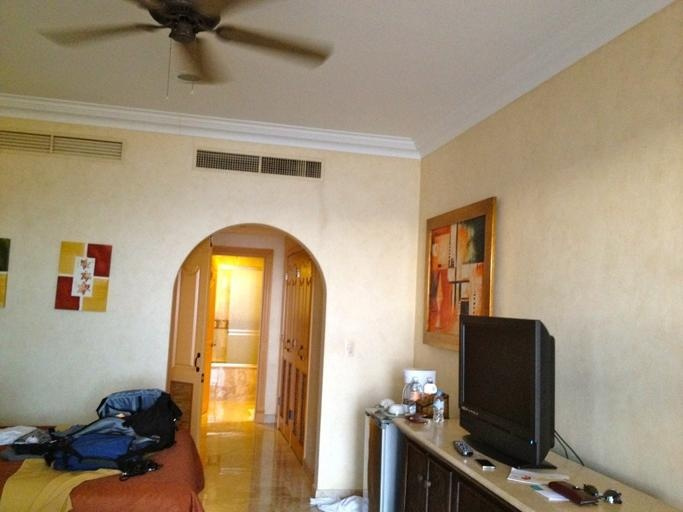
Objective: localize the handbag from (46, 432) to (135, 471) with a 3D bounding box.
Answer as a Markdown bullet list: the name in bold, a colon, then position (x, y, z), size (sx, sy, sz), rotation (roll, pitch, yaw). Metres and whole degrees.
- **handbag**: position (-1.710, 1.360, 3.596), size (0.276, 0.108, 0.286), rotation (0, 1, -7)

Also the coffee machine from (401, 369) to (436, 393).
- **coffee machine**: position (0.600, 0.939, 3.975), size (0.175, 0.199, 0.168), rotation (1, -2, 1)

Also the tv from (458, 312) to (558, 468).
- **tv**: position (0.985, 0.802, 3.053), size (0.375, 0.770, 0.753), rotation (2, -6, -12)
